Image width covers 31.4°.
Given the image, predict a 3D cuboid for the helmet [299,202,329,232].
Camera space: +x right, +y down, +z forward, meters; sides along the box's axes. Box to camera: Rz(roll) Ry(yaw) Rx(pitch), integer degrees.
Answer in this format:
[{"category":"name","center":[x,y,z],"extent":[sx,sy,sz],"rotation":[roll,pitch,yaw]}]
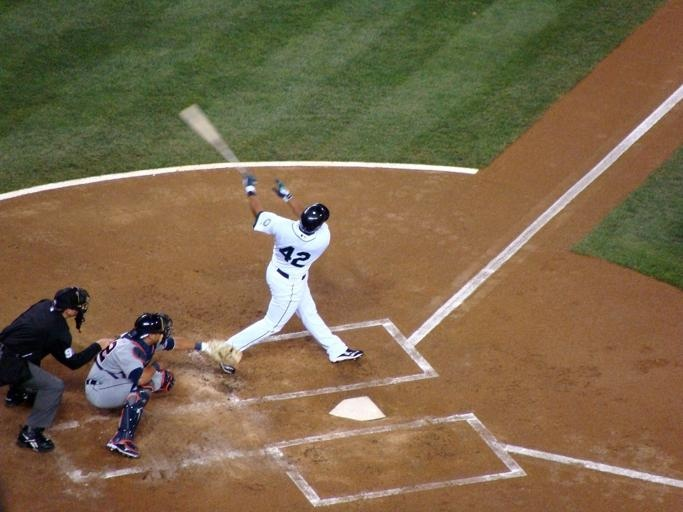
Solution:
[{"category":"helmet","center":[-0.421,-0.516,17.311],"extent":[0.434,0.402,0.321],"rotation":[-41,88,-14]}]

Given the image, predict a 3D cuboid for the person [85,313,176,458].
[{"category":"person","center":[-2.947,1.914,17.089],"extent":[1.134,1.656,1.295],"rotation":[22,11,-29]}]

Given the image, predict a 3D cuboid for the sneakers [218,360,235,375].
[{"category":"sneakers","center":[-1.683,1.658,17.775],"extent":[0.194,0.155,0.166],"rotation":[-2,-6,41]}]

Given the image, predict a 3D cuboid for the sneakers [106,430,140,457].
[{"category":"sneakers","center":[-3.014,2.616,16.800],"extent":[0.457,0.285,0.271],"rotation":[5,35,-10]}]

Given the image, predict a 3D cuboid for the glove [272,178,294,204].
[{"category":"glove","center":[-0.783,-0.963,18.427],"extent":[0.314,0.505,0.147],"rotation":[1,47,49]}]

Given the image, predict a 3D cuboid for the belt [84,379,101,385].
[{"category":"belt","center":[-3.478,1.770,17.006],"extent":[0.112,0.051,0.141],"rotation":[-13,1,-13]}]

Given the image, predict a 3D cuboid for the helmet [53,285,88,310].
[{"category":"helmet","center":[-3.751,0.585,16.865],"extent":[0.409,0.233,0.273],"rotation":[-1,35,-21]}]

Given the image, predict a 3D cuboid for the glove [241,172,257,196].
[{"category":"glove","center":[-1.379,-1.055,18.160],"extent":[0.144,0.177,0.427],"rotation":[-3,53,-3]}]

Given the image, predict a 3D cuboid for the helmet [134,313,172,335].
[{"category":"helmet","center":[-2.648,0.975,17.008],"extent":[0.497,0.335,0.284],"rotation":[5,35,-11]}]
